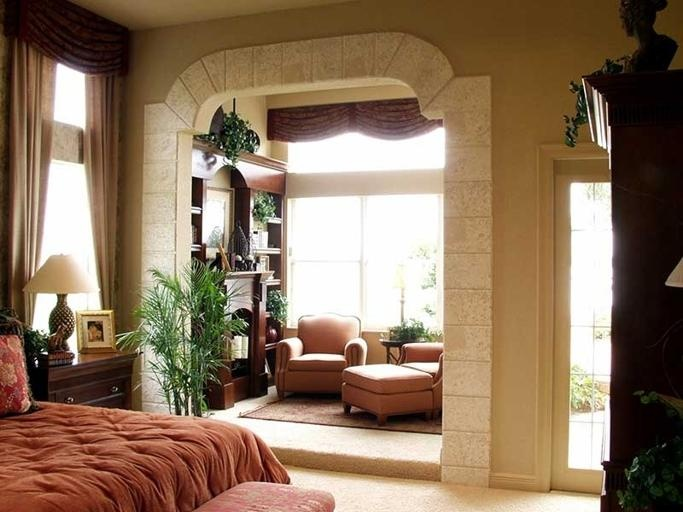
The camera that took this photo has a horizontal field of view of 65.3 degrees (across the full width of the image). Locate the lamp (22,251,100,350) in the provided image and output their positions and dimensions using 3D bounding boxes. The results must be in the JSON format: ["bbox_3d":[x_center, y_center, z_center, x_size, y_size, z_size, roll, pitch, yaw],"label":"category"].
[{"bbox_3d":[-2.426,0.382,4.731,0.642,0.964,0.687,-1,0,16],"label":"lamp"}]

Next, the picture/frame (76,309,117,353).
[{"bbox_3d":[-2.241,0.695,4.837,0.327,0.426,0.064,-2,-6,-29],"label":"picture/frame"}]
